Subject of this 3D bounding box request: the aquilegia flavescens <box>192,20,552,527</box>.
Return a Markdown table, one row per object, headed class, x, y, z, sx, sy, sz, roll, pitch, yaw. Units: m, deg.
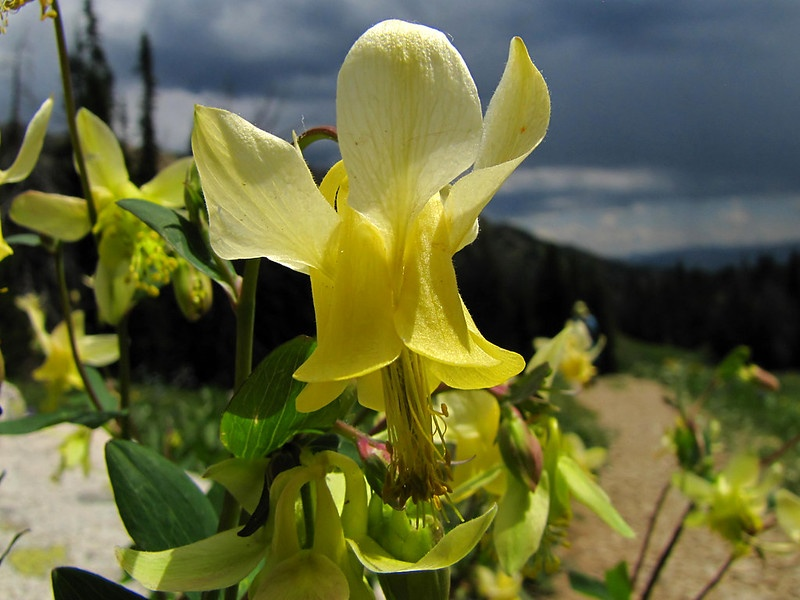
| class | x | y | z | sx | sy | sz | roll | pitch | yaw |
| --- | --- | --- | --- | --- | --- | --- | --- | --- | --- |
| aquilegia flavescens | 0.017 | -0.034 | 2.554 | 0.914 | 1.585 | 0.978 | -3 | -5 | 37 |
